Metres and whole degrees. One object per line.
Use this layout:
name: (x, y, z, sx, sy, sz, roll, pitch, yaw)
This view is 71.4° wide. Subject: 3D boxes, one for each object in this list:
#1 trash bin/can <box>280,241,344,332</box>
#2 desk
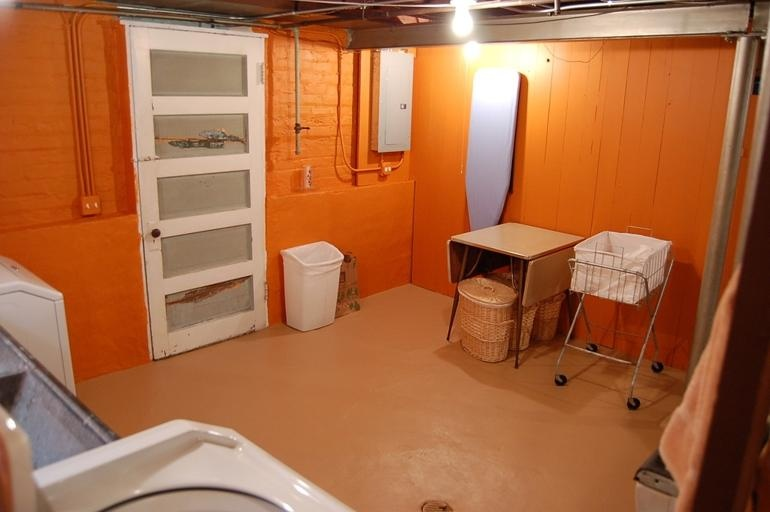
trash bin/can: (-0.746, 0.296, 5.585, 0.620, 0.815, 0.433, -18, 28, -35)
desk: (1.310, 0.302, 5.332, 1.146, 1.122, 0.869, -21, 30, -40)
